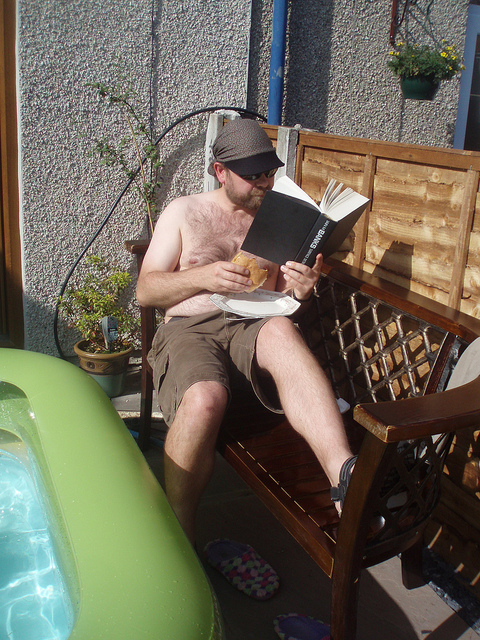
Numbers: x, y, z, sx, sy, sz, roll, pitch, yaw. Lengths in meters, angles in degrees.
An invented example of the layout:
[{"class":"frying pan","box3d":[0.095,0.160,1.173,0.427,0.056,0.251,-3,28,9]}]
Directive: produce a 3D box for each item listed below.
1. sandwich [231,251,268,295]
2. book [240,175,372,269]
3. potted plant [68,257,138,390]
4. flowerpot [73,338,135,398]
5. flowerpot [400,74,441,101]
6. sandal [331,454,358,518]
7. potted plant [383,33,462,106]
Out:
[{"class":"sandwich","box3d":[0.020,-0.151,1.537,0.119,0.121,0.040,33,-16,-19]},{"class":"book","box3d":[0.179,-0.284,1.446,0.386,0.286,0.149,6,36,-27]},{"class":"potted plant","box3d":[-0.868,-0.005,3.010,0.432,0.739,0.828,-1,13,-13]},{"class":"flowerpot","box3d":[-0.790,0.254,2.864,0.331,0.260,0.330,2,21,-1]},{"class":"flowerpot","box3d":[1.206,-1.568,3.223,0.194,0.134,0.195,1,41,3]},{"class":"sandal","box3d":[0.230,0.337,1.015,0.055,0.127,0.042,-12,-36,28]},{"class":"potted plant","box3d":[1.219,-1.681,3.259,0.388,0.325,0.400,-31,39,-31]}]
